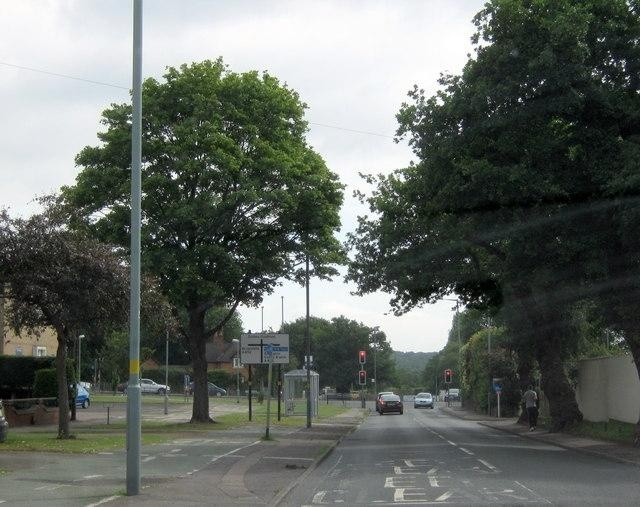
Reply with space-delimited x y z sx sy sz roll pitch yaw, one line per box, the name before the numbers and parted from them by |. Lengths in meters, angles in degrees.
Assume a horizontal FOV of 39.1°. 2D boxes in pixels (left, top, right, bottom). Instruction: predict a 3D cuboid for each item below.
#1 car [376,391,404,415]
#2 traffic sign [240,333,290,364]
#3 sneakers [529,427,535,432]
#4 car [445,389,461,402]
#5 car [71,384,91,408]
car | 5.423 11.622 69.353 1.722 1.981 2.863 -2 -15 -1
traffic sign | -2.286 3.878 37.151 1.904 1.321 1.289 -1 -14 -5
sneakers | 9.843 8.139 41.668 0.190 0.128 0.306 1 -5 14
car | 14.330 15.299 96.849 1.482 1.807 2.900 1 1 3
car | -16.229 9.659 61.517 0.727 1.934 3.145 0 -16 -10
